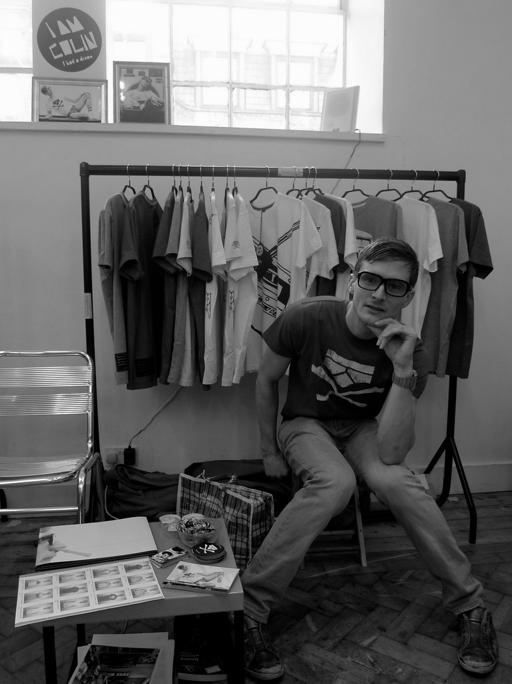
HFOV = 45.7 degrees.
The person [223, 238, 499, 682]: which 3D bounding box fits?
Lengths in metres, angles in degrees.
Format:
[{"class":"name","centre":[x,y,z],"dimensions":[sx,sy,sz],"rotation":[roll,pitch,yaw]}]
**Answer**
[{"class":"person","centre":[0.305,0.288,2.048],"dimensions":[0.702,1.506,1.065],"rotation":[4,3,-10]}]

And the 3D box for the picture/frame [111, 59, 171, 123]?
[{"class":"picture/frame","centre":[-0.513,-1.108,2.692],"dimensions":[0.246,0.028,0.305],"rotation":[-7,-34,-15]}]

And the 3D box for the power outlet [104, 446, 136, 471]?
[{"class":"power outlet","centre":[-0.626,0.526,2.777],"dimensions":[0.140,0.102,0.110],"rotation":[1,2,4]}]

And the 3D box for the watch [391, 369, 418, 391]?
[{"class":"watch","centre":[0.453,0.119,1.838],"dimensions":[0.063,0.059,0.077],"rotation":[1,-4,3]}]

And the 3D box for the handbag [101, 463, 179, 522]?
[{"class":"handbag","centre":[-0.463,0.599,2.414],"dimensions":[0.179,0.105,0.248],"rotation":[4,12,-14]}]

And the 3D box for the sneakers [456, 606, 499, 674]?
[{"class":"sneakers","centre":[0.590,0.800,1.623],"dimensions":[0.064,0.094,0.203],"rotation":[-5,5,10]}]

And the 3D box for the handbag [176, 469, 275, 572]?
[{"class":"handbag","centre":[-0.088,0.520,1.742],"dimensions":[0.185,0.224,0.087],"rotation":[9,12,33]}]
